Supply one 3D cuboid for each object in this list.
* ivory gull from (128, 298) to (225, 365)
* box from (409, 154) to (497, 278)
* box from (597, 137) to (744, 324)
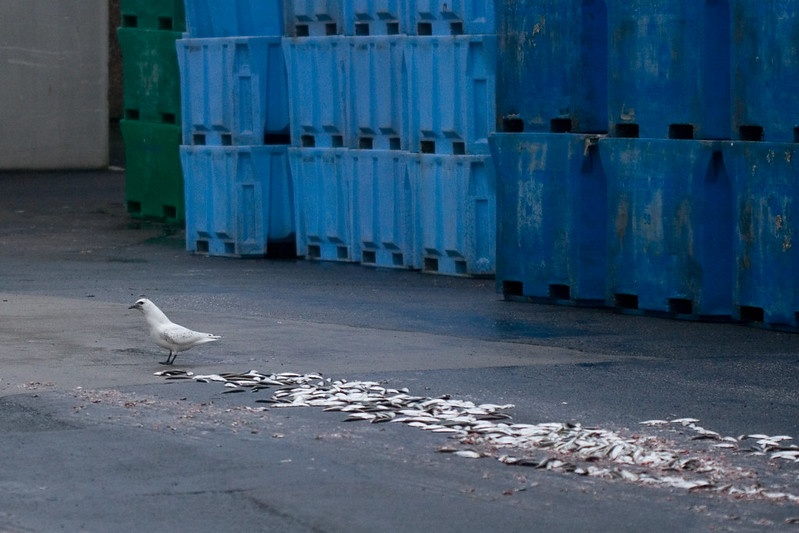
[{"bbox_3d":[-1.979,0.569,14.949,0.521,0.550,0.720,-7,15,-24],"label":"ivory gull"},{"bbox_3d":[0.634,-0.604,19.356,0.927,1.242,1.514,-3,6,-27],"label":"box"},{"bbox_3d":[2.690,-0.377,16.674,1.243,1.678,2.127,-2,3,-39],"label":"box"}]
